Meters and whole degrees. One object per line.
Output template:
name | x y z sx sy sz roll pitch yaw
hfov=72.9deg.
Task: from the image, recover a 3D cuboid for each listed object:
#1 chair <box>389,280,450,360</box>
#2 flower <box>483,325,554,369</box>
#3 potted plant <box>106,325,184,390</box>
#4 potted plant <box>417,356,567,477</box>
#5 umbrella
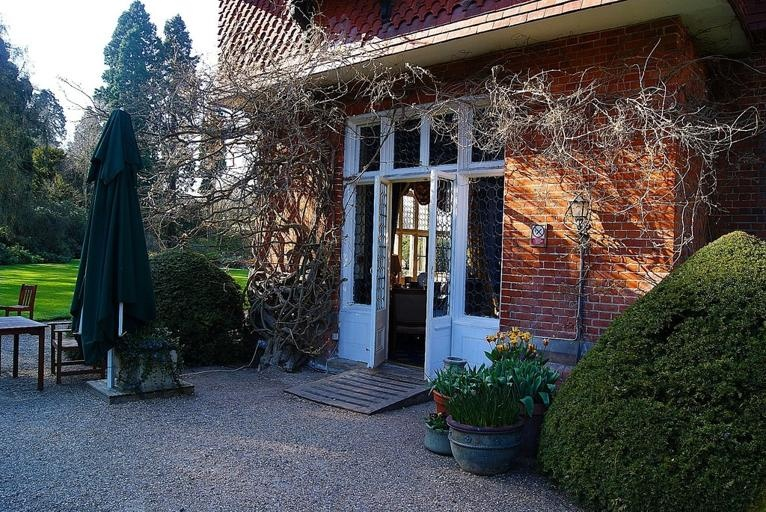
chair | 0.902 1.178 9.441 1.008 1.810 1.245 1 2 17
flower | 1.612 1.062 6.102 0.697 0.355 0.631 3 -5 -35
potted plant | -3.150 1.364 7.020 0.824 0.824 0.728 1 1 22
potted plant | 1.194 1.572 5.484 1.140 0.827 1.031 0 -3 -17
umbrella | -3.494 -0.103 6.660 1.061 3.622 0.678 1 4 7
